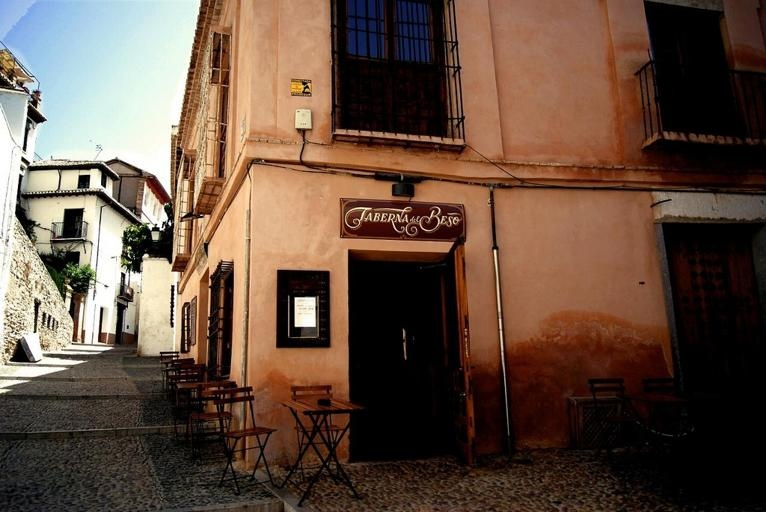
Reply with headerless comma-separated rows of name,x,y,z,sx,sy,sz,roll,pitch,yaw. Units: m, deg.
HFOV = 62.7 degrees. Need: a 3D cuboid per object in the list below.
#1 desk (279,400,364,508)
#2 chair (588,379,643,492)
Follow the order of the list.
desk,-0.813,2.767,9.161,1.133,1.463,1.473,8,-15,-18
chair,3.784,2.577,10.286,0.792,1.173,1.137,1,3,23
